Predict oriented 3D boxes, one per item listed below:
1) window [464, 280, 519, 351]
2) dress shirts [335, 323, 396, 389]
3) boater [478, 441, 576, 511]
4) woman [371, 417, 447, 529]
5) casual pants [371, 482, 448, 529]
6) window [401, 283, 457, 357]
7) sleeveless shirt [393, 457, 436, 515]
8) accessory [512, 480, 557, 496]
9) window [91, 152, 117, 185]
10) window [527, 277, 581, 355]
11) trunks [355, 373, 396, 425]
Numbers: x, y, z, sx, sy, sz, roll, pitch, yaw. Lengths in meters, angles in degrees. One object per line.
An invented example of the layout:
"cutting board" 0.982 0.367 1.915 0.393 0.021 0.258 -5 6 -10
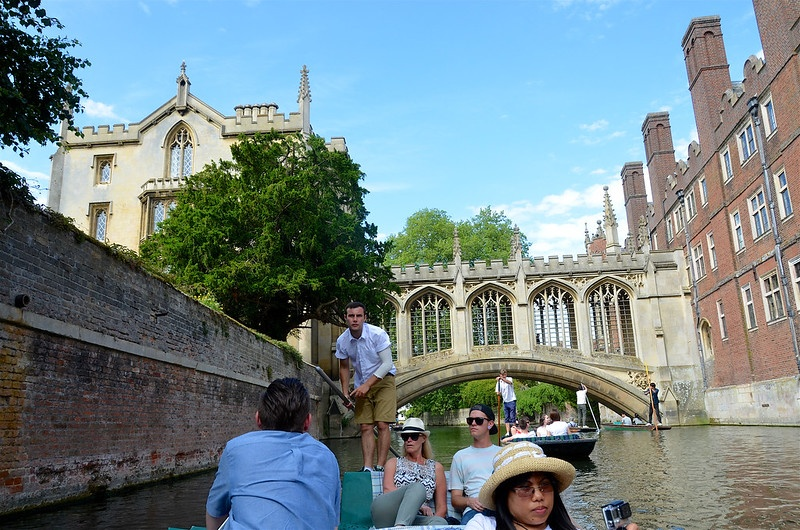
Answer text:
"window" 5.014 2.744 30.719 3.598 4.992 0.226 -1 -13 -2
"dress shirts" -0.521 1.370 8.475 0.784 0.923 0.627 -7 10 12
"boater" 0.999 1.589 4.503 0.591 0.287 0.603 -2 -36 -9
"woman" 0.132 2.510 6.526 0.747 1.377 1.141 1 -55 3
"casual pants" -0.070 2.628 6.174 0.655 0.500 0.326 -9 -14 36
"window" 1.630 3.095 30.903 3.686 5.393 0.234 -3 -18 0
"sleeveless shirt" 0.166 2.657 6.782 0.621 0.834 0.481 3 -29 -3
"accessory" 1.062 1.773 4.501 0.312 0.116 0.040 -1 -11 -1
"window" -15.959 -5.177 30.398 1.680 2.330 0.319 -3 -21 -9
"window" 8.487 3.019 30.941 2.434 4.440 0.314 -5 22 11
"trunks" -0.354 1.961 8.297 0.518 0.575 0.333 -23 -35 14
